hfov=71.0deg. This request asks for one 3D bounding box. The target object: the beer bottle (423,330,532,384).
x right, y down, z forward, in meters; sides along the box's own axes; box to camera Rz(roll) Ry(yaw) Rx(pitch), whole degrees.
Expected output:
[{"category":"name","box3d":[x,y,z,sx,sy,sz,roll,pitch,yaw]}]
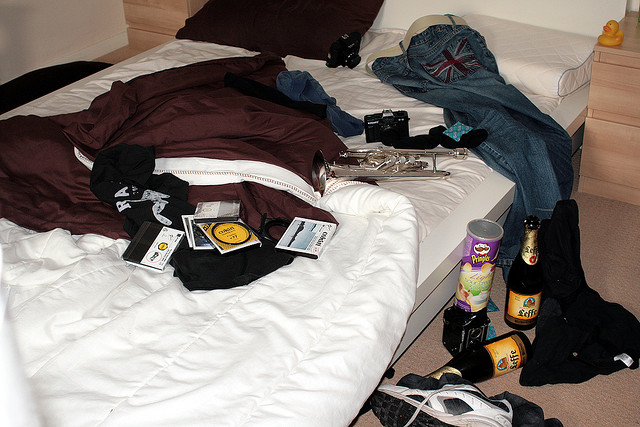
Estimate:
[{"category":"beer bottle","box3d":[0.656,0.548,1.720,0.350,0.115,0.115,-11,40,-18]}]

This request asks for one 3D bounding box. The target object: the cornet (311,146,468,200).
[{"category":"cornet","box3d":[0.285,-0.168,1.910,0.659,0.195,0.238,-1,6,-10]}]

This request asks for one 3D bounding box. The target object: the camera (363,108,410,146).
[{"category":"camera","box3d":[0.318,-0.407,2.136,0.228,0.134,0.117,-4,28,2]}]

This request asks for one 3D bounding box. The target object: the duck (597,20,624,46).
[{"category":"duck","box3d":[1.432,-0.892,2.204,0.131,0.093,0.107,-5,26,4]}]

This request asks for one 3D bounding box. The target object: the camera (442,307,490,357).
[{"category":"camera","box3d":[0.588,0.448,1.803,0.179,0.224,0.181,13,26,28]}]

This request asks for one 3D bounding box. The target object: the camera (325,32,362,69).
[{"category":"camera","box3d":[0.166,-0.993,2.759,0.231,0.157,0.129,-37,68,-29]}]
